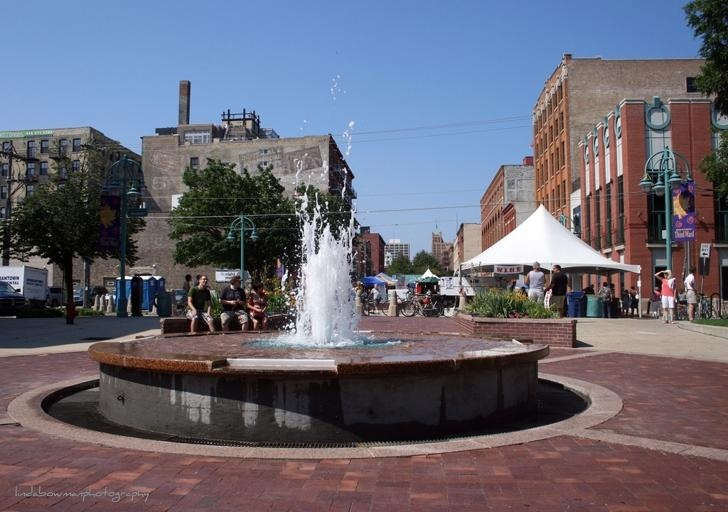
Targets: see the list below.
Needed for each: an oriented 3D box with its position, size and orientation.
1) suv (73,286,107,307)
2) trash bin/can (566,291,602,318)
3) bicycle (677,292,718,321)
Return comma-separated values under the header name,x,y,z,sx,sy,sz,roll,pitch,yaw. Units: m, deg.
name,x,y,z,sx,sy,sz,roll,pitch,yaw
suv,-19.030,2.777,52.519,1.471,1.239,2.532,-2,-7,12
trash bin/can,8.475,1.865,29.518,1.431,1.001,0.965,-1,1,-15
bicycle,12.208,1.860,28.030,1.940,1.214,0.965,0,-3,-32
